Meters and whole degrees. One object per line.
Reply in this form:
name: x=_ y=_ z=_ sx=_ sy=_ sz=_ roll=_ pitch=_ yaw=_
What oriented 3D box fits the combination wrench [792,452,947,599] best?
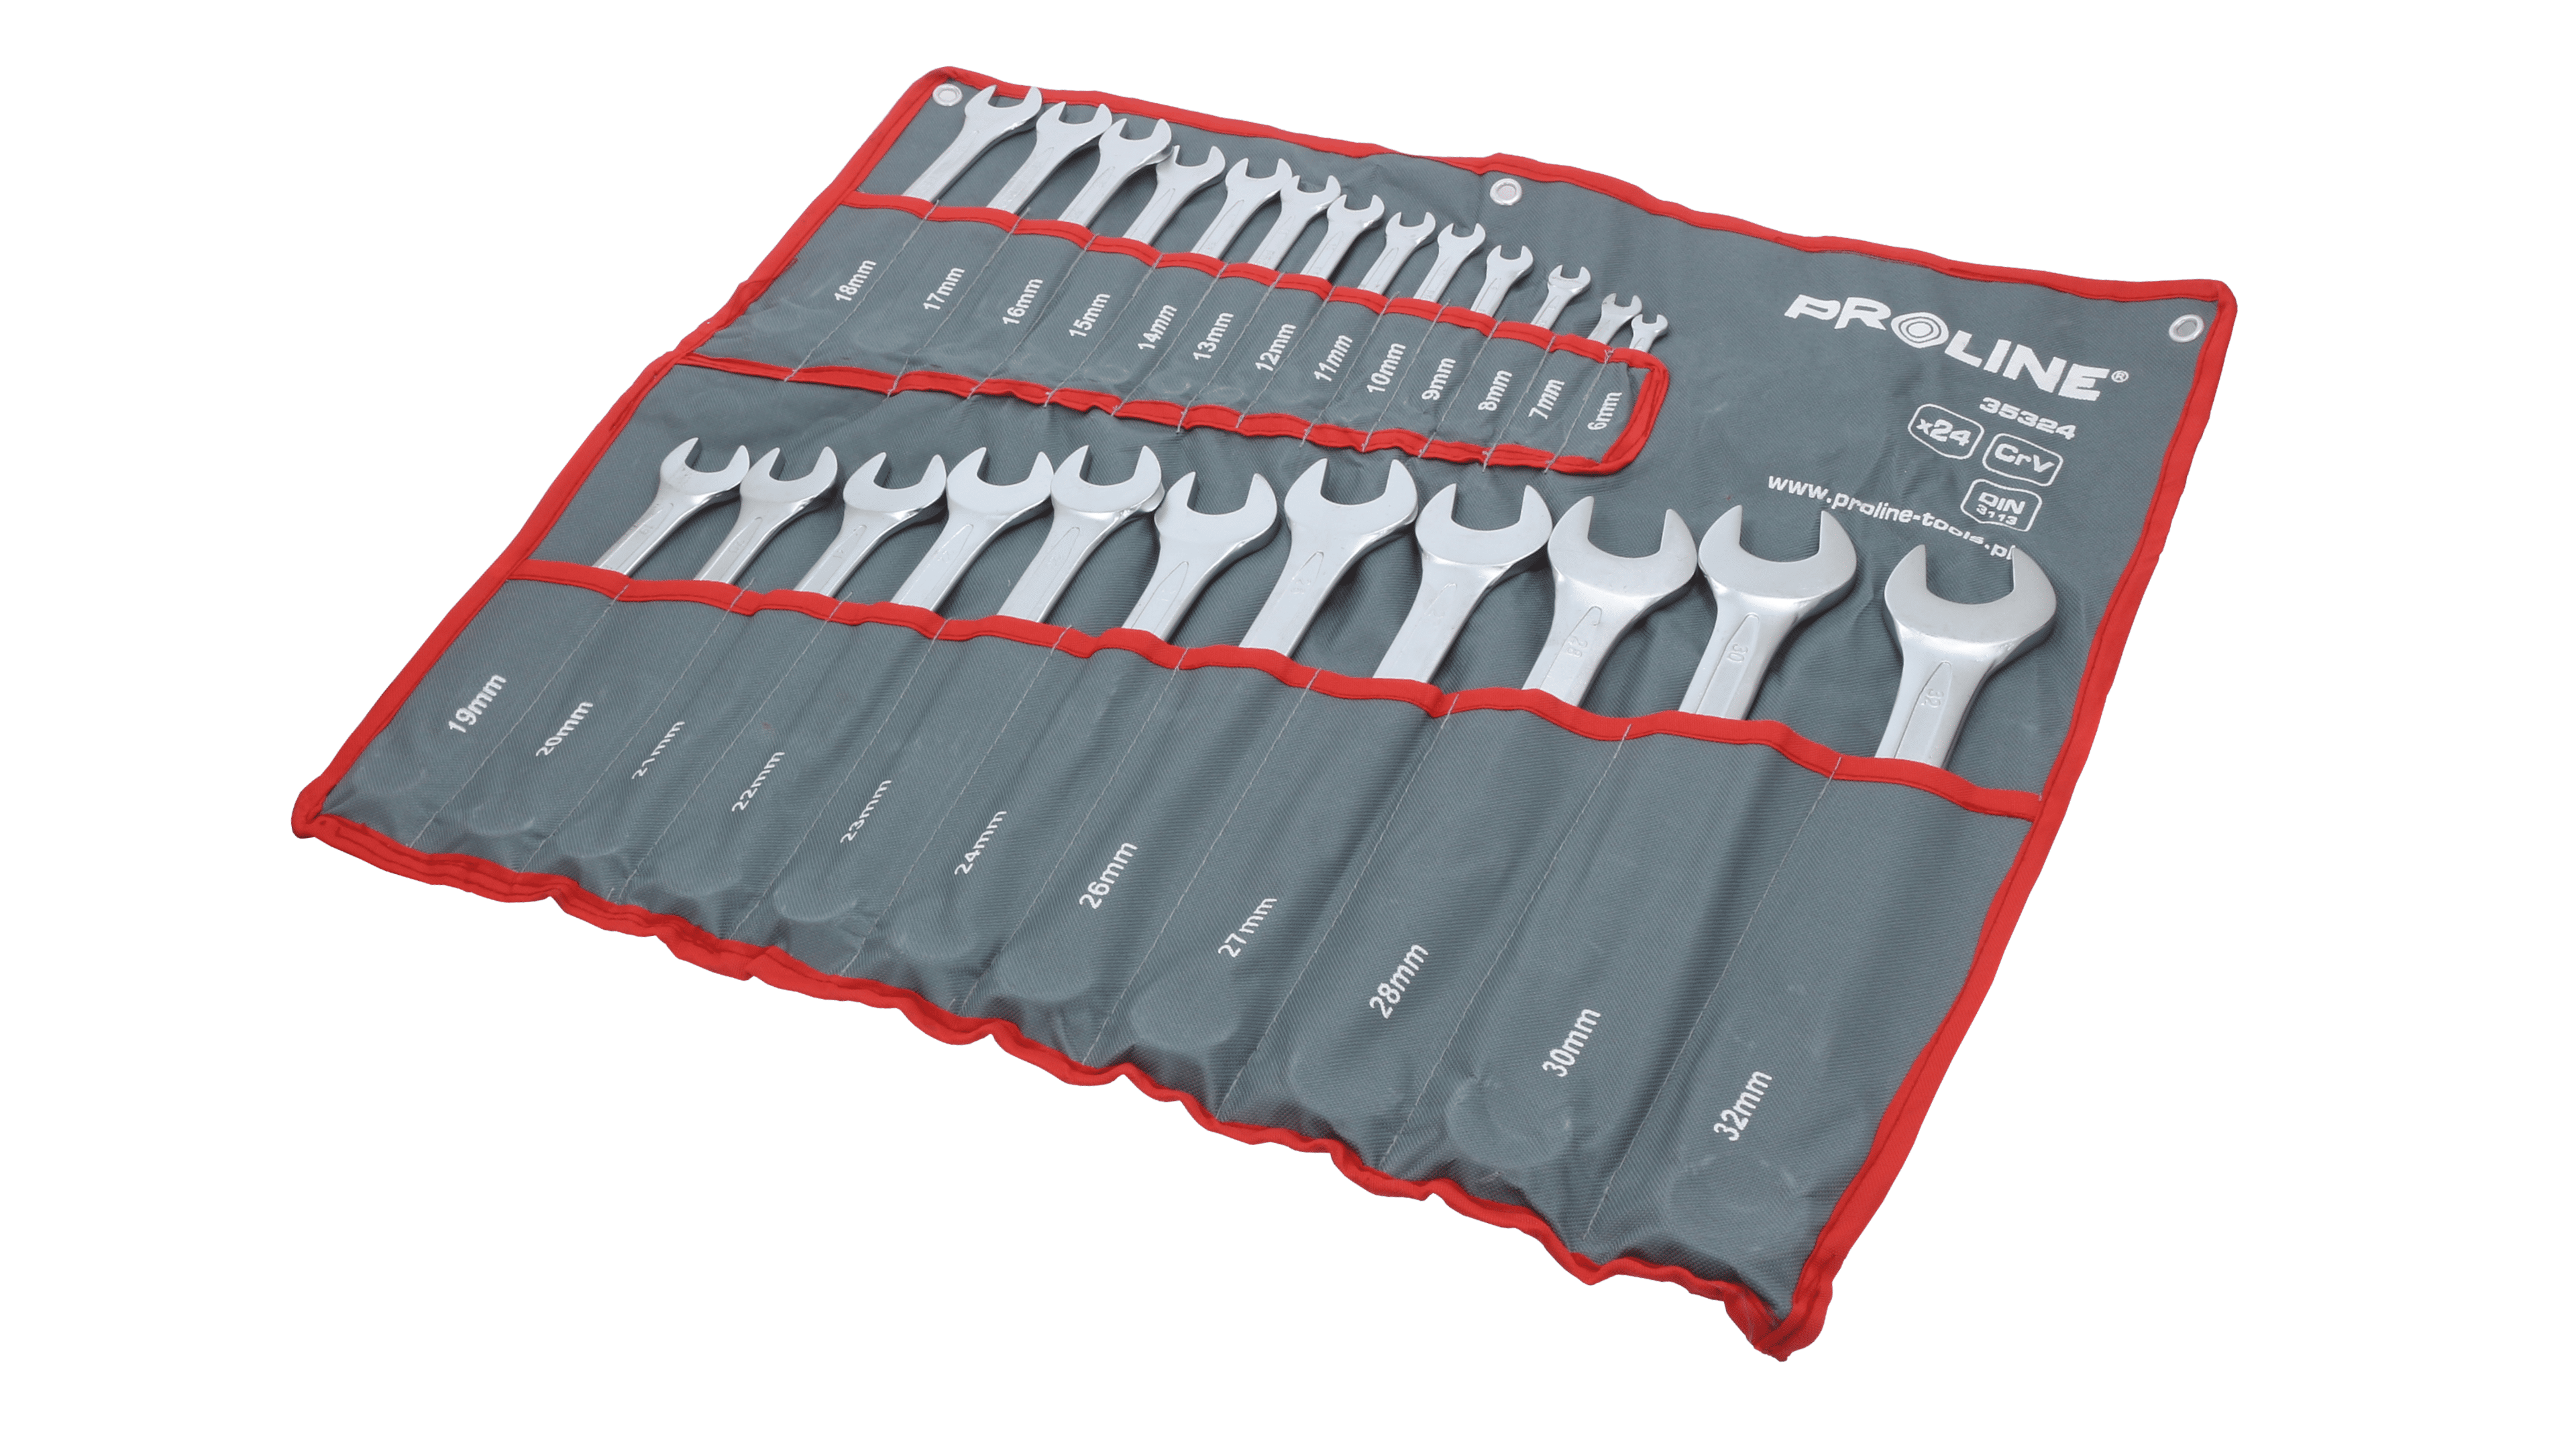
combination wrench: x=-0.845 y=-0.418 z=5.097 sx=0.160 sy=0.412 sz=0.033 roll=18 pitch=-35 yaw=16
